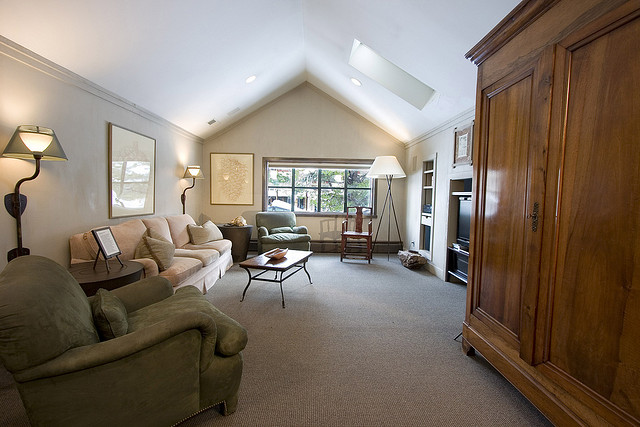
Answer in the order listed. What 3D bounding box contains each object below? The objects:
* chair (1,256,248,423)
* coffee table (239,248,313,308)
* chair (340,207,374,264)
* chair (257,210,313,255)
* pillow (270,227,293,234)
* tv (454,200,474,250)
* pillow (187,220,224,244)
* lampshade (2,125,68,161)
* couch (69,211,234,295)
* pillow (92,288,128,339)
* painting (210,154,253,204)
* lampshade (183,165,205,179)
[{"bbox_3d":[-1.432,0.666,3.298,1.648,1.456,1.232,-2,10,-33],"label":"chair"},{"bbox_3d":[-0.598,0.968,5.083,0.575,0.471,1.029,0,3,13],"label":"coffee table"},{"bbox_3d":[0.703,0.337,7.542,0.595,0.973,1.347,3,14,8],"label":"chair"},{"bbox_3d":[-0.699,0.389,7.331,1.047,0.838,1.035,-2,1,-40],"label":"chair"},{"bbox_3d":[-0.706,0.311,7.343,0.425,0.067,0.217,-2,14,-14],"label":"pillow"},{"bbox_3d":[2.008,0.141,5.661,0.097,0.788,0.796,7,0,31],"label":"tv"},{"bbox_3d":[-1.773,0.173,6.180,0.256,0.227,0.586,20,8,11],"label":"pillow"},{"bbox_3d":[-2.568,-0.550,3.653,0.289,0.255,0.439,3,5,42],"label":"lampshade"},{"bbox_3d":[-1.944,0.557,5.405,0.919,0.975,2.644,3,4,1],"label":"couch"},{"bbox_3d":[-1.644,0.750,3.120,0.238,0.227,0.606,-3,7,-32],"label":"pillow"},{"bbox_3d":[-1.740,-0.712,7.751,0.943,1.180,0.044,0,3,-5],"label":"painting"},{"bbox_3d":[-2.102,-0.673,6.683,0.256,0.166,0.241,1,-1,-22],"label":"lampshade"}]
